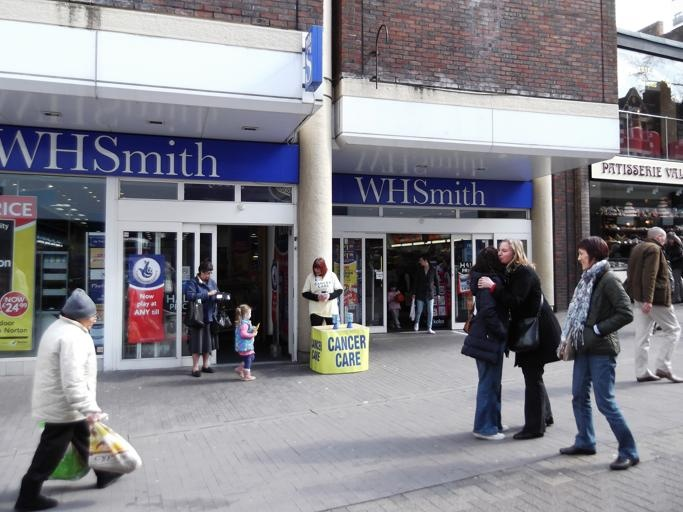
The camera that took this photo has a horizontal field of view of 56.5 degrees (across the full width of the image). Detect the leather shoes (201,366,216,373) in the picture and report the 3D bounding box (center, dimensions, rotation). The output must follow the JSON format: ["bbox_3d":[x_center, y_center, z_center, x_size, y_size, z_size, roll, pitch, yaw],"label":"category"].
[{"bbox_3d":[-2.411,2.046,11.499,0.237,0.105,0.091,2,4,6],"label":"leather shoes"}]

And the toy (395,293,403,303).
[{"bbox_3d":[1.520,1.097,16.758,0.191,0.301,0.262,1,-13,-2],"label":"toy"}]

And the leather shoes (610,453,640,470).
[{"bbox_3d":[3.266,2.373,7.378,0.363,0.164,0.140,-5,-36,-27],"label":"leather shoes"}]

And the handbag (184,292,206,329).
[{"bbox_3d":[-2.547,0.937,11.054,0.515,0.688,0.314,5,-12,-28],"label":"handbag"}]

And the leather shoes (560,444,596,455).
[{"bbox_3d":[2.840,2.329,7.663,0.403,0.178,0.159,2,-4,10],"label":"leather shoes"}]

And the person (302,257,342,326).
[{"bbox_3d":[-0.365,0.673,11.797,0.744,1.276,0.562,-2,7,-4],"label":"person"}]

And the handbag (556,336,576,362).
[{"bbox_3d":[2.718,1.134,7.705,0.196,0.406,0.273,1,-2,14],"label":"handbag"}]

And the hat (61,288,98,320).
[{"bbox_3d":[-2.955,0.545,7.109,0.292,0.354,0.398,-2,4,16],"label":"hat"}]

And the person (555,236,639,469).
[{"bbox_3d":[3.069,1.105,7.547,0.951,2.601,0.647,4,8,33],"label":"person"}]

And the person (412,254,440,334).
[{"bbox_3d":[2.089,0.949,15.764,0.532,1.804,0.957,0,7,8],"label":"person"}]

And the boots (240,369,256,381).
[{"bbox_3d":[-1.617,2.037,10.975,0.135,0.183,0.254,4,7,32],"label":"boots"}]

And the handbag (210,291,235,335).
[{"bbox_3d":[-2.172,1.039,11.296,0.234,0.751,0.535,-6,-6,27],"label":"handbag"}]

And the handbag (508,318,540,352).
[{"bbox_3d":[2.309,1.004,8.081,0.194,0.449,0.428,7,-8,-40],"label":"handbag"}]

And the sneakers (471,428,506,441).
[{"bbox_3d":[1.902,2.304,8.212,0.393,0.189,0.142,-1,-2,5],"label":"sneakers"}]

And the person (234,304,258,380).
[{"bbox_3d":[-1.671,1.482,11.005,0.354,1.317,0.599,-2,7,-11],"label":"person"}]
